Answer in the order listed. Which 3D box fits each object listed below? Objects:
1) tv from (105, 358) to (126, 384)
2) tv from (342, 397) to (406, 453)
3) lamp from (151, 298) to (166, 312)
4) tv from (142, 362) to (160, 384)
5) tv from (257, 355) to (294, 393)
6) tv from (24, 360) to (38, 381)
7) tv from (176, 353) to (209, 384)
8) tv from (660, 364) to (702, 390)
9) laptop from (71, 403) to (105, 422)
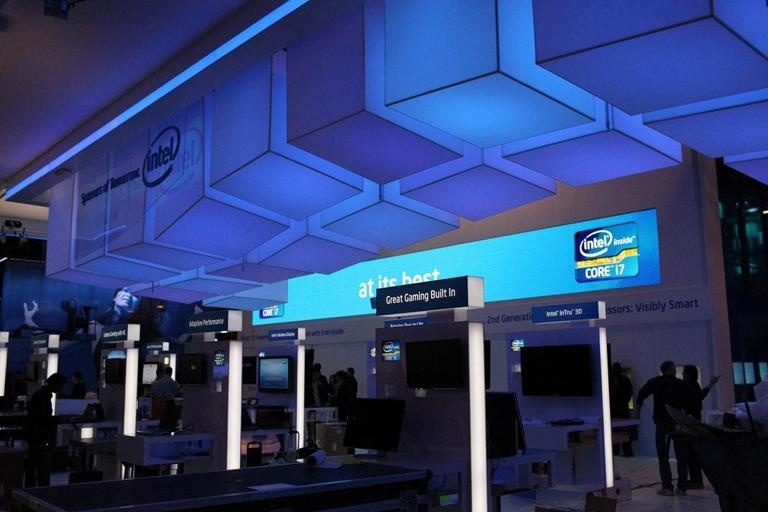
[{"bbox_3d":[-4.695,2.006,11.930,0.146,0.375,0.448,13,-21,-43],"label":"tv"},{"bbox_3d":[-0.083,1.701,6.895,0.787,0.553,0.307,-14,-32,42],"label":"tv"},{"bbox_3d":[-7.344,1.598,22.169,0.441,0.404,0.441,1,-12,-18],"label":"lamp"},{"bbox_3d":[-5.867,2.917,17.029,0.296,0.535,0.688,4,-14,-21],"label":"tv"},{"bbox_3d":[-1.953,2.142,12.373,0.710,0.482,0.094,-13,-26,39],"label":"tv"},{"bbox_3d":[-7.557,2.451,14.591,0.095,0.471,0.688,4,-9,-39],"label":"tv"},{"bbox_3d":[-2.838,1.665,10.135,0.074,0.348,0.521,7,-10,-41],"label":"tv"},{"bbox_3d":[4.363,1.786,10.031,0.373,0.467,0.671,2,-9,-16],"label":"tv"},{"bbox_3d":[-5.033,2.680,11.637,0.408,0.372,0.337,13,-14,-19],"label":"laptop"}]
